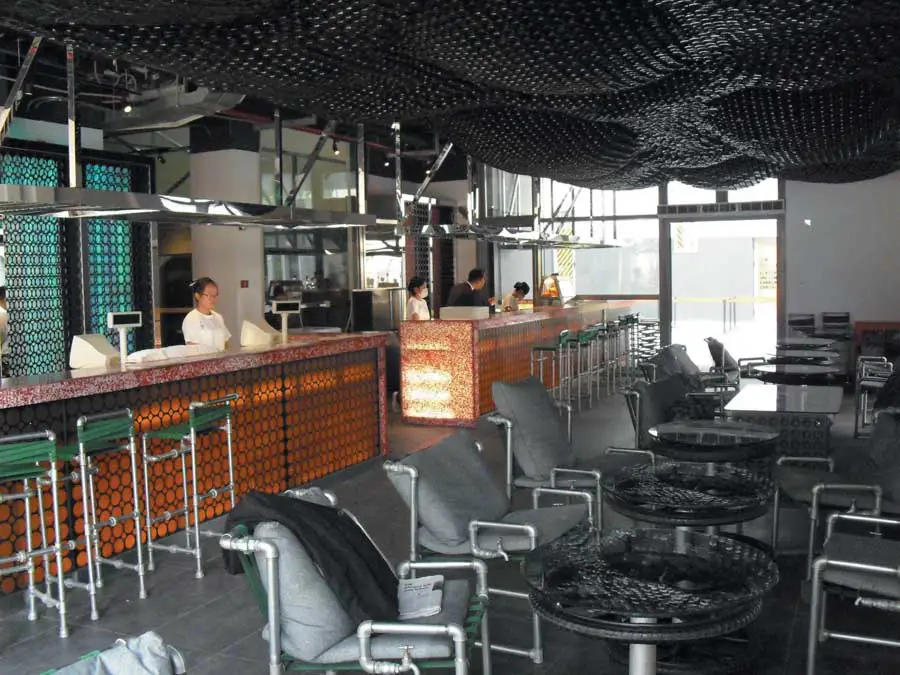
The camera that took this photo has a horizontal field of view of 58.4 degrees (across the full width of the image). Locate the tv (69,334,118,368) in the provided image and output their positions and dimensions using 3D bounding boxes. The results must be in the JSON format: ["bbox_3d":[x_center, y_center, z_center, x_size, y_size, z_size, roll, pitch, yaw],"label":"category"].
[{"bbox_3d":[-2.388,0.102,5.381,0.260,0.201,0.250,0,0,9],"label":"tv"}]
